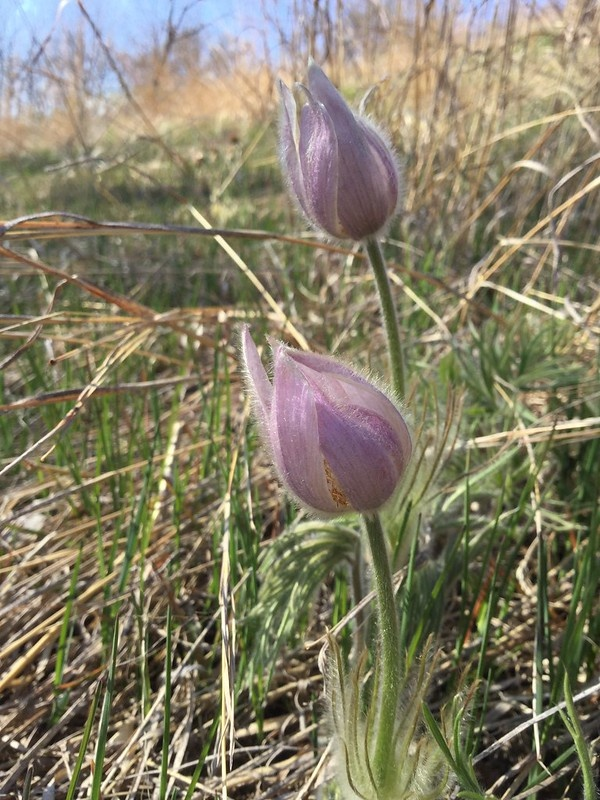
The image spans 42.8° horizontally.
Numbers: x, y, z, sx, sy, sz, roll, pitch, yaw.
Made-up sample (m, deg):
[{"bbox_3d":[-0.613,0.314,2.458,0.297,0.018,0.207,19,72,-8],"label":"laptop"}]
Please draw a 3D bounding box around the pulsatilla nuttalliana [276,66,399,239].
[{"bbox_3d":[0.069,-0.428,1.337,0.170,0.363,0.160,-24,34,-22],"label":"pulsatilla nuttalliana"}]

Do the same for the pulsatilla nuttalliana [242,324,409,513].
[{"bbox_3d":[0.054,0.017,1.097,0.152,0.315,0.188,2,44,36],"label":"pulsatilla nuttalliana"}]
